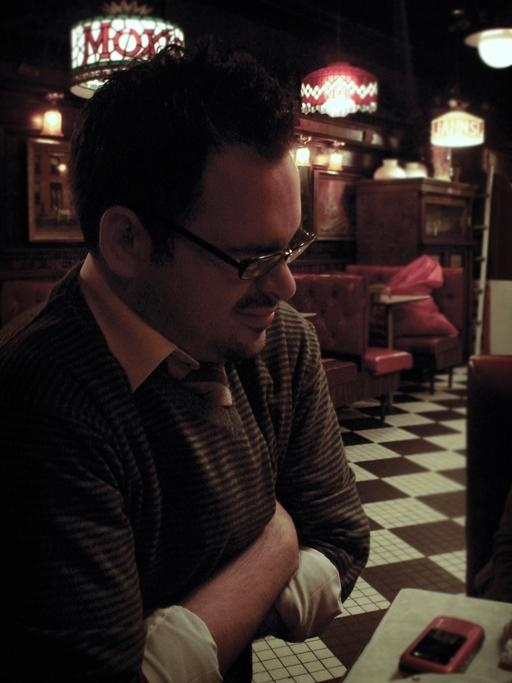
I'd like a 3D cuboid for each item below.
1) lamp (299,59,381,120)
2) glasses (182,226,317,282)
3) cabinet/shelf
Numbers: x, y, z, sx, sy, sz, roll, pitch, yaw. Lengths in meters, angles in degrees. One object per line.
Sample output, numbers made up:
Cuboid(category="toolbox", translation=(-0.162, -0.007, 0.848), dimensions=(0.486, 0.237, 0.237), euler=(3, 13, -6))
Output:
Cuboid(category="lamp", translation=(0.630, -1.995, 5.136), dimensions=(0.512, 0.332, 0.527), euler=(-3, 25, -1))
Cuboid(category="glasses", translation=(-0.014, -0.127, 0.893), dimensions=(0.119, 0.033, 0.117), euler=(43, 40, 21))
Cuboid(category="cabinet/shelf", translation=(2.128, -1.320, 8.064), dimensions=(1.041, 1.957, 1.955), euler=(1, 5, 32))
